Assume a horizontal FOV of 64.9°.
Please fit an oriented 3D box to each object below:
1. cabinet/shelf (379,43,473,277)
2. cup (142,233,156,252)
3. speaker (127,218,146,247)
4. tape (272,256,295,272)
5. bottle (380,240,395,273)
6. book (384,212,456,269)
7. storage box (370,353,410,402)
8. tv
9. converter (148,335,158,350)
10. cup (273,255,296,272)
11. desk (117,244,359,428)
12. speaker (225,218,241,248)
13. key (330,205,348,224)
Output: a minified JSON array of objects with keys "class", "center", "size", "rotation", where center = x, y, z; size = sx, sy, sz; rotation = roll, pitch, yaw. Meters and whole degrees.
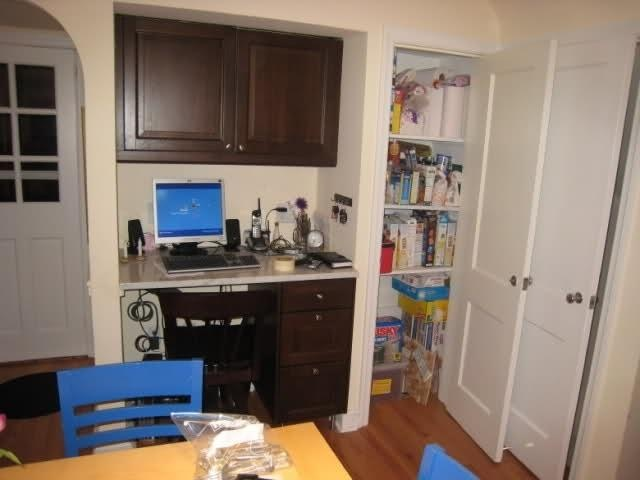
[{"class":"cabinet/shelf","center":[0.770,-0.580,3.677],"size":[0.799,1.580,0.669],"rotation":[-2,10,-12]},{"class":"cup","center":[-1.183,0.015,3.474],"size":[0.101,0.187,0.101],"rotation":[2,3,0]},{"class":"speaker","center":[-1.253,-0.042,3.420],"size":[0.104,0.187,0.176],"rotation":[-4,10,-21]},{"class":"tape","center":[-0.236,0.154,3.237],"size":[0.140,0.078,0.198],"rotation":[-1,9,-4]},{"class":"bottle","center":[0.460,0.129,3.511],"size":[0.151,0.221,0.065],"rotation":[-8,12,-38]},{"class":"book","center":[0.722,-0.009,3.843],"size":[0.686,0.485,0.380],"rotation":[-1,16,-9]},{"class":"storage box","center":[0.480,1.036,3.887],"size":[0.353,0.351,0.260],"rotation":[-1,7,-15]},{"class":"tv","center":[-0.916,-0.173,3.445],"size":[0.517,0.484,0.052],"rotation":[-1,5,-18]},{"class":"converter","center":[-1.087,0.679,3.296],"size":[0.084,0.086,0.057],"rotation":[1,6,0]},{"class":"cup","center":[-0.220,0.160,3.220],"size":[0.103,0.061,0.104],"rotation":[2,8,0]},{"class":"desk","center":[-0.636,0.701,3.467],"size":[1.503,1.065,0.789],"rotation":[-1,8,-18]},{"class":"speaker","center":[-0.625,-0.035,3.597],"size":[0.106,0.211,0.129],"rotation":[-2,10,-9]},{"class":"key","center":[0.139,-0.173,3.475],"size":[0.120,0.121,0.043],"rotation":[-12,0,13]}]
